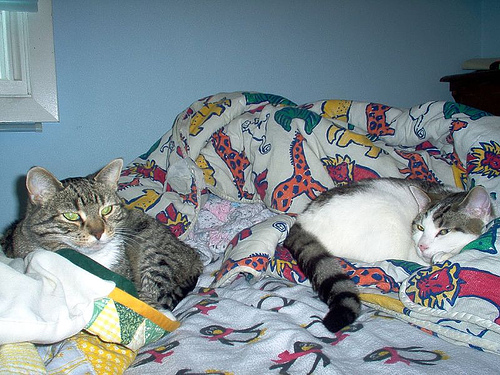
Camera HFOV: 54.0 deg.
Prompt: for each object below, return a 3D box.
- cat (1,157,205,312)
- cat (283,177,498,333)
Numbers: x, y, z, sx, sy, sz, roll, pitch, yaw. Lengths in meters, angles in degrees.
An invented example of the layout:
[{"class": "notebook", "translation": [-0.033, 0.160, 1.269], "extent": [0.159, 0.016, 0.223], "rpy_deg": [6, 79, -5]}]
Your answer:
[{"class": "cat", "translation": [-0.611, 0.103, 2.135], "extent": [0.604, 0.422, 0.722], "rpy_deg": [3, 13, -18]}, {"class": "cat", "translation": [0.579, 0.306, 2.127], "extent": [0.627, 0.229, 0.563], "rpy_deg": [-17, 33, 1]}]
